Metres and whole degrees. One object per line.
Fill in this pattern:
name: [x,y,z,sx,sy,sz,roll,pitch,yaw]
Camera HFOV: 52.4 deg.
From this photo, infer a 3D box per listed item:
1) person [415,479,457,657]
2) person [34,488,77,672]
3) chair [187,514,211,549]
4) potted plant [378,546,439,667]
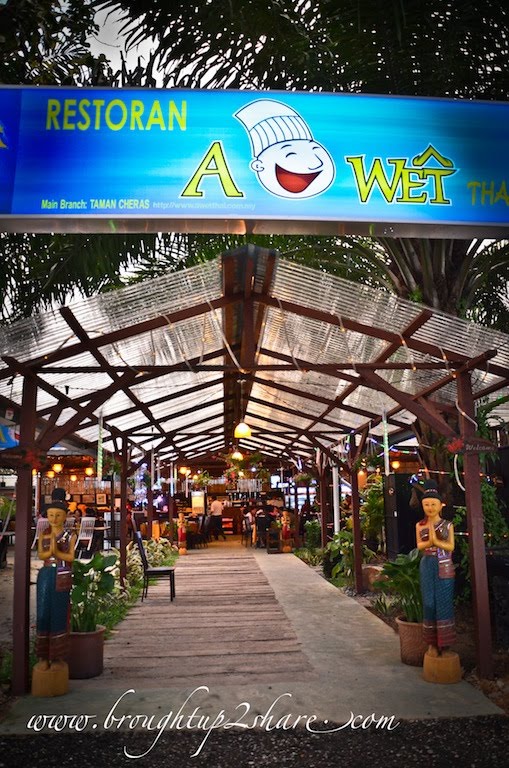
person: [1.485,1.512,4.230,0.273,1.278,0.340,-4,-8,17]
person: [-1.567,1.539,4.110,0.268,1.382,0.356,2,-8,-22]
chair: [-2.072,5.542,19.071,0.799,1.038,1.924,0,-7,-8]
potted plant: [1.438,2.088,4.810,0.490,0.936,0.682,-9,-18,16]
